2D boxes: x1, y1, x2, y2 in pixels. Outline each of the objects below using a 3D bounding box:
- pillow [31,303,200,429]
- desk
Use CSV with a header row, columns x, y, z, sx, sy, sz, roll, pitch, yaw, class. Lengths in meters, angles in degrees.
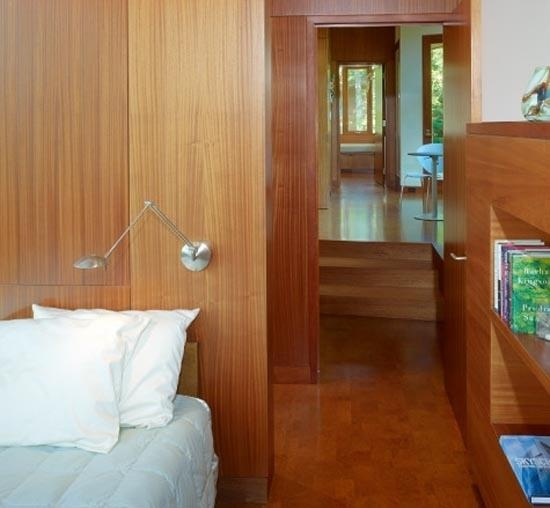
x,y,z,sx,sy,sz,roll,pitch,yaw,class
-0.453,0.421,1.935,0.409,0.485,0.134,-3,-15,14,pillow
2.270,-1.074,7.639,0.497,1.036,2.901,1,9,17,desk
